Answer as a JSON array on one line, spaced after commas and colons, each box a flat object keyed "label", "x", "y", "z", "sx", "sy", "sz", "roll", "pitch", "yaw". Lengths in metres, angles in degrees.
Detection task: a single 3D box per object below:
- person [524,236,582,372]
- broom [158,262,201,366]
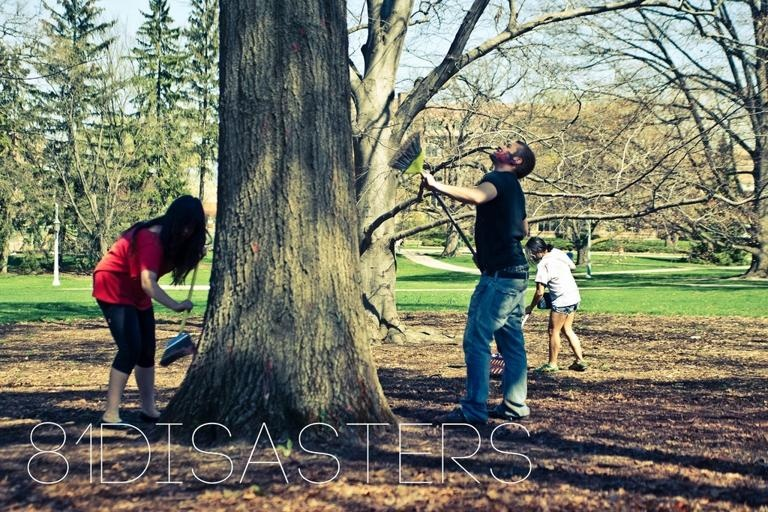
[{"label": "person", "x": 3.013, "y": 0.813, "z": 15.212, "sx": 1.231, "sy": 2.142, "sz": 0.682, "roll": 0, "pitch": 0, "yaw": 19}, {"label": "broom", "x": -2.860, "y": 0.776, "z": 12.224, "sx": 0.746, "sy": 1.740, "sz": 0.705, "roll": 1, "pitch": 0, "yaw": -8}]
